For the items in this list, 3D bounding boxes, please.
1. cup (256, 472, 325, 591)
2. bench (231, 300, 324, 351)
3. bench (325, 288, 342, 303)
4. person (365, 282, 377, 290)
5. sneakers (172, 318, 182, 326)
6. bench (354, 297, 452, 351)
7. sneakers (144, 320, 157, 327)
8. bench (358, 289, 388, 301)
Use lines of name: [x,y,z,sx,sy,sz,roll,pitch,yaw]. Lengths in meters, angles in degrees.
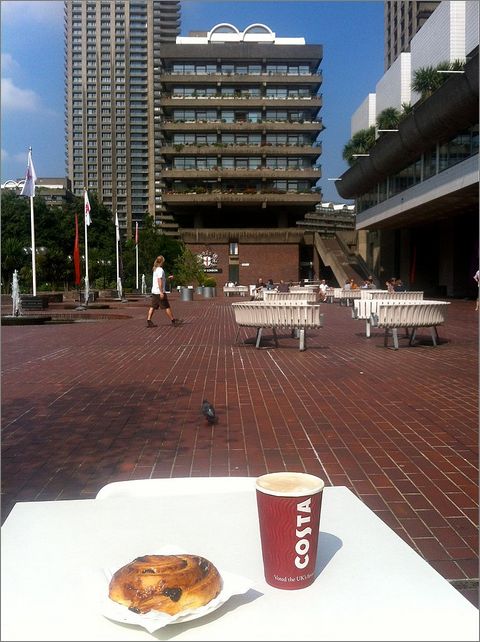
cup: [0.087,0.358,0.824,0.113,0.174,0.116,0,1,0]
bench: [0.976,0.062,11.477,1.910,1.105,2.338,0,5,11]
bench: [6.747,-1.884,34.794,0.845,0.518,1.342,1,6,-3]
person: [9.072,-2.436,33.222,0.809,0.466,1.200,-1,4,15]
sneakers: [-2.231,0.021,16.472,0.386,0.288,0.215,-7,1,7]
bench: [3.969,0.107,11.073,1.625,0.835,1.321,2,-3,0]
sneakers: [-3.038,0.073,16.296,0.402,0.320,0.164,-7,14,-27]
bench: [5.069,-1.021,18.343,0.916,0.453,1.261,2,6,5]
